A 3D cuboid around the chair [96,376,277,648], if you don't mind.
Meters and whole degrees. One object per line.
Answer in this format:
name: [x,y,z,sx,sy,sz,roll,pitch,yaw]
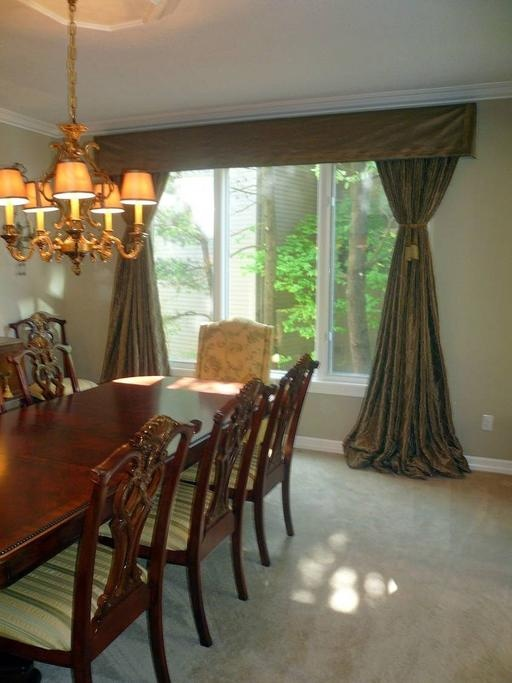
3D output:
chair: [-0.286,0.549,1.772,0.527,0.810,0.494,4,3,20]
